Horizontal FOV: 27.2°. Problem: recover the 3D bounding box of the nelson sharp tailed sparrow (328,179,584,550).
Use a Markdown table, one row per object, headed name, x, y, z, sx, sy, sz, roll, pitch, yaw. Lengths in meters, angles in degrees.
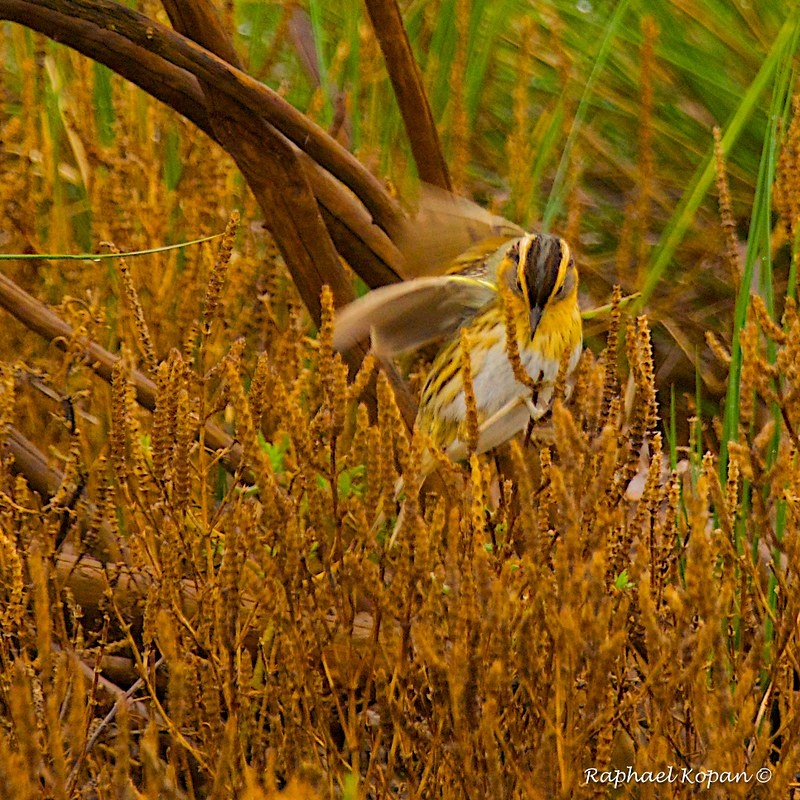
| name | x | y | z | sx | sy | sz | roll | pitch | yaw |
| --- | --- | --- | --- | --- | --- | --- | --- | --- | --- |
| nelson sharp tailed sparrow | 0.126 | -0.145 | 2.734 | 0.219 | 0.456 | 0.458 | 53 | 27 | 11 |
